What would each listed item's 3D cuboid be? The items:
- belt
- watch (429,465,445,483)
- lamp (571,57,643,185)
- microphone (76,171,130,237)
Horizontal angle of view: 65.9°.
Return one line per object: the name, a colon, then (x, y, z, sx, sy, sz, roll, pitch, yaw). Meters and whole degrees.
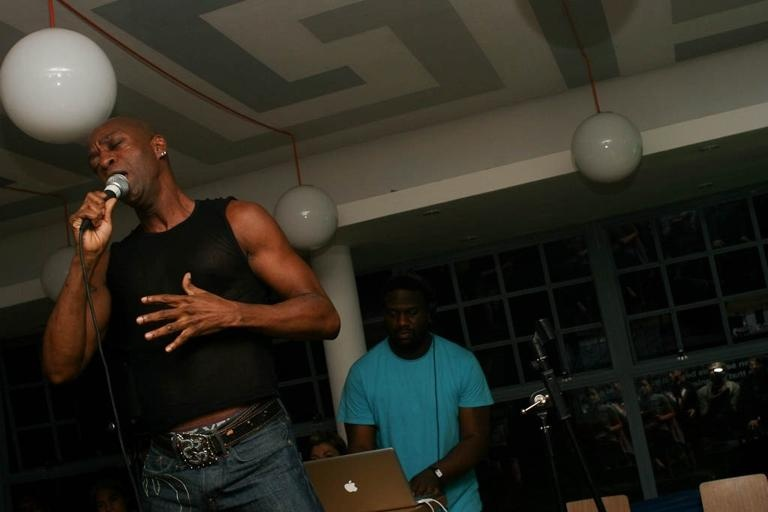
belt: (-0.475, 0.474, 1.719, 0.214, 0.091, 0.182, -30, 2, -27)
watch: (0.241, 0.997, 2.710, 0.054, 0.050, 0.071, 11, 13, 43)
lamp: (1.412, -0.686, 3.761, 0.427, 0.438, 0.228, 6, 10, 19)
microphone: (-0.821, -0.160, 1.740, 0.064, 0.247, 0.073, 15, -39, 11)
